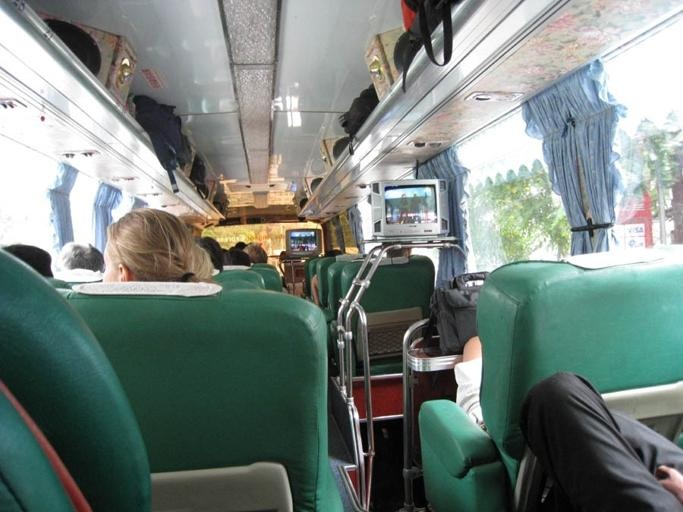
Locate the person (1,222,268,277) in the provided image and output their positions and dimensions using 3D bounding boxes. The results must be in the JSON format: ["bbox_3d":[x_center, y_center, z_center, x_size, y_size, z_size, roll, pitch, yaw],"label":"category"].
[{"bbox_3d":[-1.467,-0.054,3.152,1.051,0.264,0.986,0,4,-1],"label":"person"}]

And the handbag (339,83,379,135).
[{"bbox_3d":[0.146,-1.482,4.546,0.269,0.403,0.139,19,15,-45],"label":"handbag"}]

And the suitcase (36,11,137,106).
[{"bbox_3d":[-1.935,-1.462,3.424,0.555,0.670,0.473,-8,8,-39],"label":"suitcase"}]

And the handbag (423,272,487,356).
[{"bbox_3d":[0.739,0.323,2.582,0.472,0.460,0.263,-1,-17,-11],"label":"handbag"}]

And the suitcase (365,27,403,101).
[{"bbox_3d":[0.397,-1.509,3.705,0.256,0.451,0.448,-9,20,-26],"label":"suitcase"}]

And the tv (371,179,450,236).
[{"bbox_3d":[0.567,-0.399,4.089,0.726,0.509,0.401,-3,4,-8],"label":"tv"}]
